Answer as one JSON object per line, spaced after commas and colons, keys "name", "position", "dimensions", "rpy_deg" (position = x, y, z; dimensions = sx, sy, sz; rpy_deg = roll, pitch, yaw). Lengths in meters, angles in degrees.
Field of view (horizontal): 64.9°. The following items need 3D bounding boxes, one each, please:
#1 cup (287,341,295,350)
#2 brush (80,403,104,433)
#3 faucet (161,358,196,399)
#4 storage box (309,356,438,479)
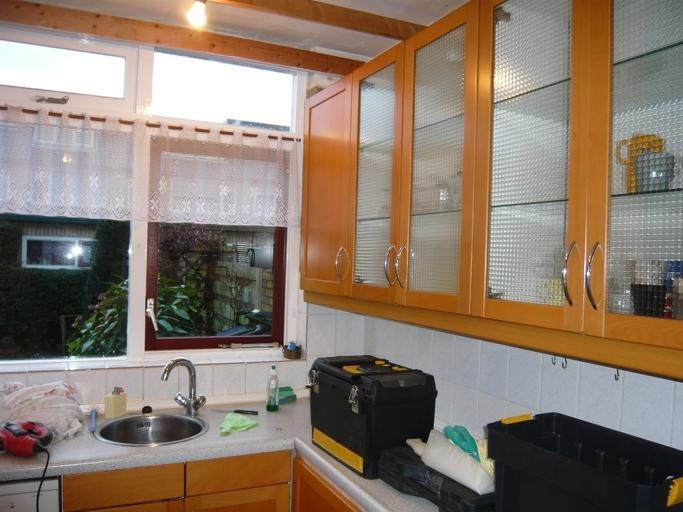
{"name": "cup", "position": [-0.304, 0.546, 3.276], "dimensions": [0.045, 0.049, 0.035], "rpy_deg": [-1, 2, -26]}
{"name": "brush", "position": [-1.241, 0.805, 2.693], "dimensions": [0.091, 0.039, 0.178], "rpy_deg": [2, 6, -20]}
{"name": "faucet", "position": [-0.840, 0.639, 2.820], "dimensions": [0.172, 0.183, 0.331], "rpy_deg": [-2, 1, -16]}
{"name": "storage box", "position": [0.120, 0.705, 2.455], "dimensions": [0.415, 0.409, 0.582], "rpy_deg": [4, -3, -30]}
